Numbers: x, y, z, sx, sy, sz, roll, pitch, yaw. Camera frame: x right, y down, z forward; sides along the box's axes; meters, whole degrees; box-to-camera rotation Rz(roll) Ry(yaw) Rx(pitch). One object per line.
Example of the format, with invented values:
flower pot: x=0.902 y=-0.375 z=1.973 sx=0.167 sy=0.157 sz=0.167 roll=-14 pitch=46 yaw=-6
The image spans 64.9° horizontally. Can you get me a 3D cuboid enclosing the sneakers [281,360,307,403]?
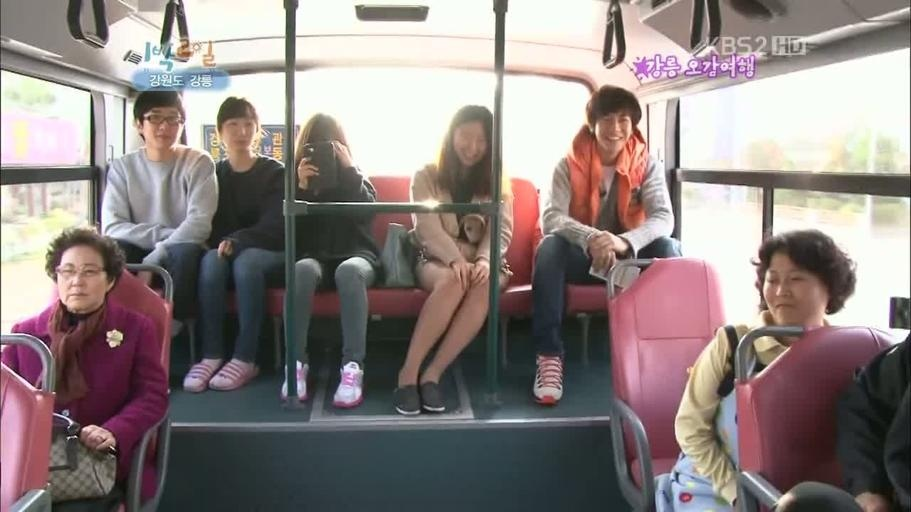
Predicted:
sneakers: x=-0.927 y=0.696 z=4.127 sx=0.151 sy=0.239 sz=0.378 roll=3 pitch=6 yaw=-12

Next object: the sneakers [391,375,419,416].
sneakers: x=-0.258 y=0.794 z=3.976 sx=0.153 sy=0.148 sz=0.176 roll=2 pitch=6 yaw=-17

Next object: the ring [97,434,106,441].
ring: x=-1.616 y=0.825 z=3.238 sx=0.029 sy=0.026 sz=0.009 roll=4 pitch=-11 yaw=-25

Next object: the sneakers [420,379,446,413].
sneakers: x=-0.129 y=0.780 z=4.068 sx=0.155 sy=0.156 sz=0.292 roll=4 pitch=5 yaw=-3

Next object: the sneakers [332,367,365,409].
sneakers: x=-0.601 y=0.725 z=4.058 sx=0.161 sy=0.238 sz=0.197 roll=4 pitch=6 yaw=-4

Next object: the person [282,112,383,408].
person: x=-0.725 y=-0.038 z=4.336 sx=0.547 sy=1.682 sz=0.960 roll=3 pitch=6 yaw=-12

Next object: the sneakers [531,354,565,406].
sneakers: x=0.546 y=0.714 z=4.164 sx=0.126 sy=0.147 sz=0.333 roll=0 pitch=7 yaw=3

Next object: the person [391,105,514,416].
person: x=0.007 y=-0.029 z=4.236 sx=0.638 sy=1.757 sz=0.833 roll=5 pitch=6 yaw=4

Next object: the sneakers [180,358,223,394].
sneakers: x=-1.509 y=0.709 z=4.201 sx=0.107 sy=0.097 sz=0.277 roll=0 pitch=4 yaw=5

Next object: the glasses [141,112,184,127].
glasses: x=-1.904 y=-0.889 z=4.635 sx=0.236 sy=0.086 sz=0.082 roll=1 pitch=6 yaw=-25

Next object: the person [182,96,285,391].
person: x=-1.345 y=-0.119 z=4.468 sx=0.531 sy=1.772 sz=0.808 roll=3 pitch=6 yaw=-14
